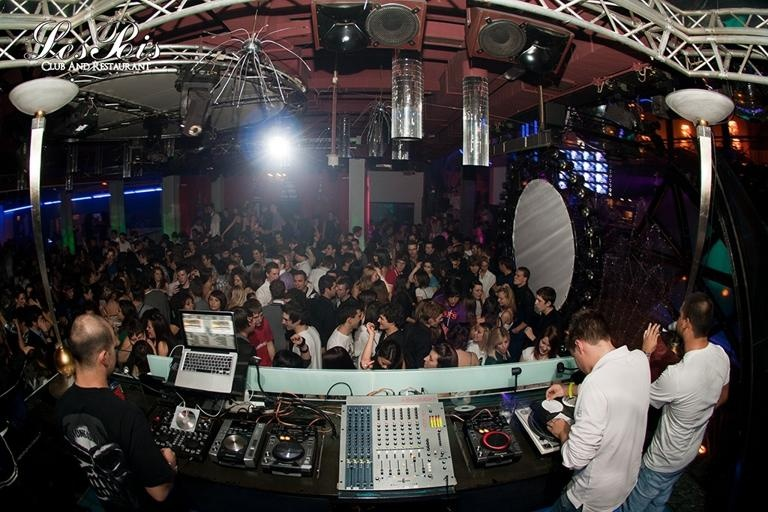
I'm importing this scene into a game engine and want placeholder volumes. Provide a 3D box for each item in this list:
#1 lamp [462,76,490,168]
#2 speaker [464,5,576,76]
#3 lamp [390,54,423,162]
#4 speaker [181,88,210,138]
[{"bbox_3d":[0.917,-1.375,5.324,0.244,0.924,0.200,0,-2,7],"label":"lamp"},{"bbox_3d":[1.331,-2.151,5.288,1.028,0.537,0.436,1,-2,-13],"label":"speaker"},{"bbox_3d":[0.228,-1.514,5.047,0.292,0.810,0.154,1,-2,-4],"label":"lamp"},{"bbox_3d":[-2.123,-1.623,6.012,0.275,0.497,0.131,-5,37,-35],"label":"speaker"}]
